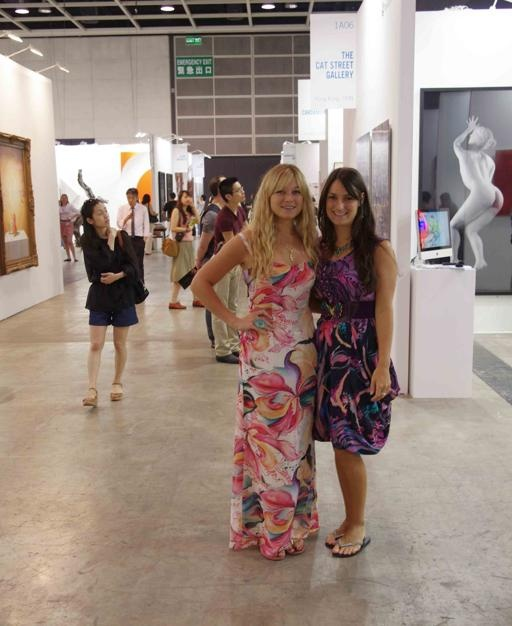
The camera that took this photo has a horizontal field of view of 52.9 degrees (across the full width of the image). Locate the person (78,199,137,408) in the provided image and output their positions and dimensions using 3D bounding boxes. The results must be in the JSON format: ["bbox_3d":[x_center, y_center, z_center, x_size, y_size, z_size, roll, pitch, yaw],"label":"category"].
[{"bbox_3d":[-1.143,-0.053,4.003,0.426,1.584,0.408,-4,6,-28],"label":"person"}]

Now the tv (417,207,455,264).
[{"bbox_3d":[1.530,-0.666,4.411,0.327,0.406,0.216,-2,5,-4],"label":"tv"}]

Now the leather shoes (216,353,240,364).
[{"bbox_3d":[-0.293,0.476,5.435,0.243,0.108,0.091,0,6,18],"label":"leather shoes"}]

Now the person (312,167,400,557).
[{"bbox_3d":[0.354,0.197,1.906,0.322,1.450,0.289,0,5,15],"label":"person"}]

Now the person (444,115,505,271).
[{"bbox_3d":[2.586,-1.399,6.201,0.701,1.761,0.347,-3,5,-20],"label":"person"}]

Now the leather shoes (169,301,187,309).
[{"bbox_3d":[-1.288,-0.127,8.358,0.201,0.088,0.118,-2,9,6],"label":"leather shoes"}]

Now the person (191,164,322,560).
[{"bbox_3d":[0.012,0.200,1.918,0.445,1.463,0.320,-1,5,5],"label":"person"}]
